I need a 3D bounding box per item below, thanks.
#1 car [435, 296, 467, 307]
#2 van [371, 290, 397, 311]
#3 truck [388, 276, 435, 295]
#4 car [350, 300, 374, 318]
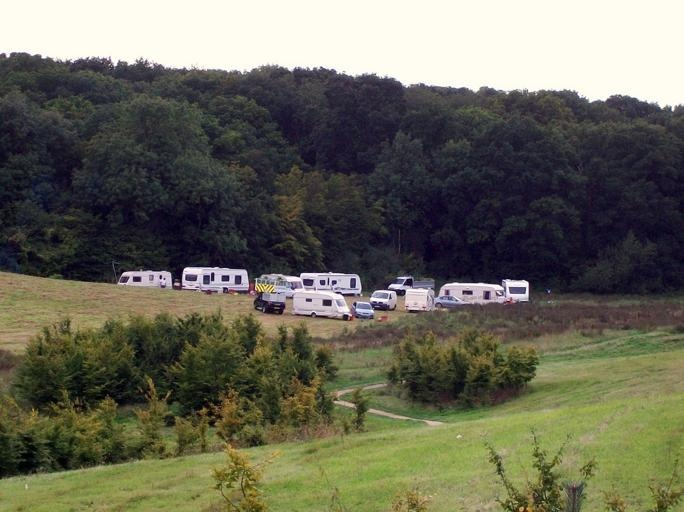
[{"bbox_3d":[10.108,4.508,117.938,2.396,0.904,1.171,-1,3,11],"label":"car"},{"bbox_3d":[4.163,4.210,116.640,1.398,1.268,2.337,-1,-4,31],"label":"van"},{"bbox_3d":[7.594,3.032,131.182,4.028,1.619,2.110,1,-1,-26],"label":"truck"},{"bbox_3d":[1.918,4.944,111.549,1.942,1.276,1.513,3,6,-1],"label":"car"}]
